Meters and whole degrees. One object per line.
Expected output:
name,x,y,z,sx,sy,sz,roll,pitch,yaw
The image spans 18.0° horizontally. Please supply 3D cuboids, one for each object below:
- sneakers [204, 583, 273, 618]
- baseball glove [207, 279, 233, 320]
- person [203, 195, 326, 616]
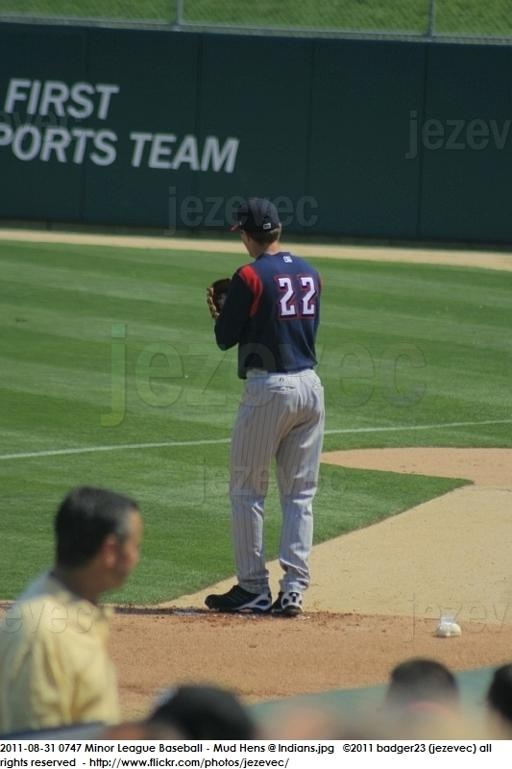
sneakers,-0.083,0.972,7.189,0.280,0.145,0.118,4,-7,3
baseball glove,-0.161,-0.395,7.319,0.128,0.167,0.070,-18,20,-11
person,0.037,0.240,7.146,0.494,1.626,0.481,3,10,2
